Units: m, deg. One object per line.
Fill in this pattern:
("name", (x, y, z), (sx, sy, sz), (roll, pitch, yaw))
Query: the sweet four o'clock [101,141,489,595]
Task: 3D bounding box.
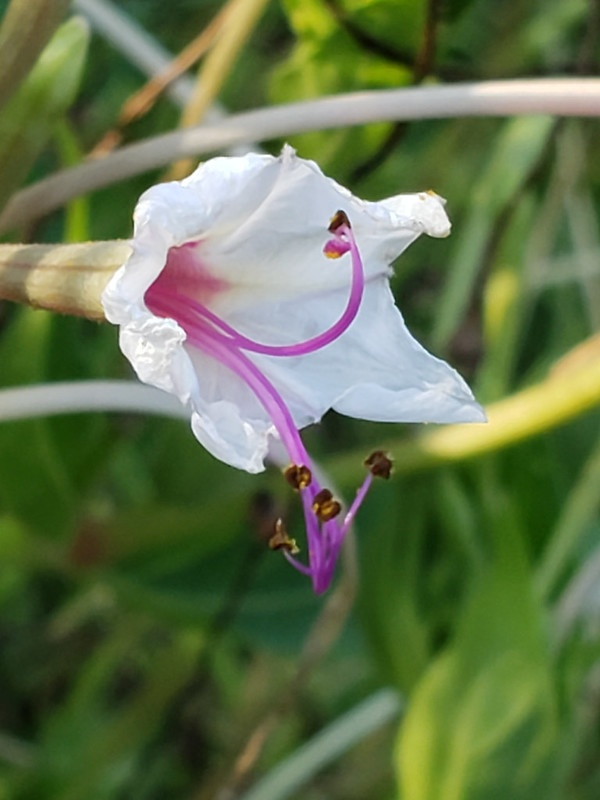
("sweet four o'clock", (0.002, -0.114, 0.961), (0.449, 0.180, 0.473), (30, 16, 9))
